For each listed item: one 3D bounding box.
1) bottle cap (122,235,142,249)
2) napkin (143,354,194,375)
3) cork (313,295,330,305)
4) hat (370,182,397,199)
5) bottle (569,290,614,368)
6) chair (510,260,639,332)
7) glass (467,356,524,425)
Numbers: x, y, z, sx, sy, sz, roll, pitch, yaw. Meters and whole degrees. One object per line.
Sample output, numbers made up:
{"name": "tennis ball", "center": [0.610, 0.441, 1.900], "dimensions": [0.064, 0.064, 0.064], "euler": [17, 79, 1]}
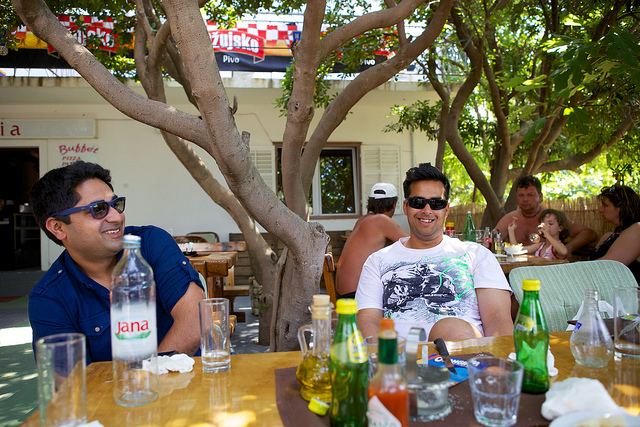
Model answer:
{"name": "bottle cap", "center": [-1.010, 0.149, 2.657], "dimensions": [0.077, 0.072, 0.076], "euler": [-3, 4, -43]}
{"name": "napkin", "center": [-0.868, 0.848, 2.838], "dimensions": [0.194, 0.044, 0.144], "euler": [3, 11, -20]}
{"name": "cork", "center": [0.008, 0.447, 2.560], "dimensions": [0.059, 0.034, 0.059], "euler": [0, -6, 2]}
{"name": "hat", "center": [0.739, -0.265, 5.652], "dimensions": [0.252, 0.197, 0.407], "euler": [3, 4, 19]}
{"name": "bottle", "center": [1.592, 0.693, 2.970], "dimensions": [0.234, 0.462, 0.207], "euler": [-1, -2, 2]}
{"name": "chair", "center": [1.755, 0.568, 3.382], "dimensions": [0.514, 0.372, 0.510], "euler": [-11, 11, -23]}
{"name": "glass", "center": [0.861, 0.893, 2.576], "dimensions": [0.315, 0.271, 0.290], "euler": [0, 0, -14]}
